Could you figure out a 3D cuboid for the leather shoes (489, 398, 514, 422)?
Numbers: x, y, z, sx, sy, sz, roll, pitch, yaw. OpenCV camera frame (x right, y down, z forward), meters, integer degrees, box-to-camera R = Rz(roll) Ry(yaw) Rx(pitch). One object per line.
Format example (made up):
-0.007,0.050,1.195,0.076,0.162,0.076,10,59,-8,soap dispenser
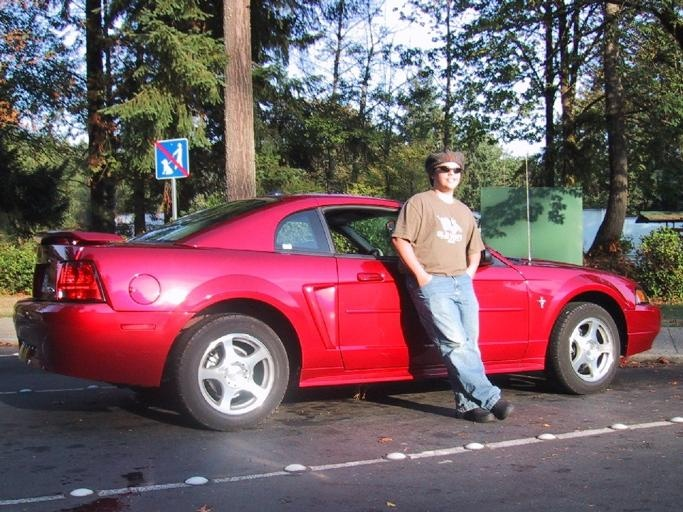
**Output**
1.370,1.305,4.835,0.117,0.104,0.278,27,-16,-14,leather shoes
